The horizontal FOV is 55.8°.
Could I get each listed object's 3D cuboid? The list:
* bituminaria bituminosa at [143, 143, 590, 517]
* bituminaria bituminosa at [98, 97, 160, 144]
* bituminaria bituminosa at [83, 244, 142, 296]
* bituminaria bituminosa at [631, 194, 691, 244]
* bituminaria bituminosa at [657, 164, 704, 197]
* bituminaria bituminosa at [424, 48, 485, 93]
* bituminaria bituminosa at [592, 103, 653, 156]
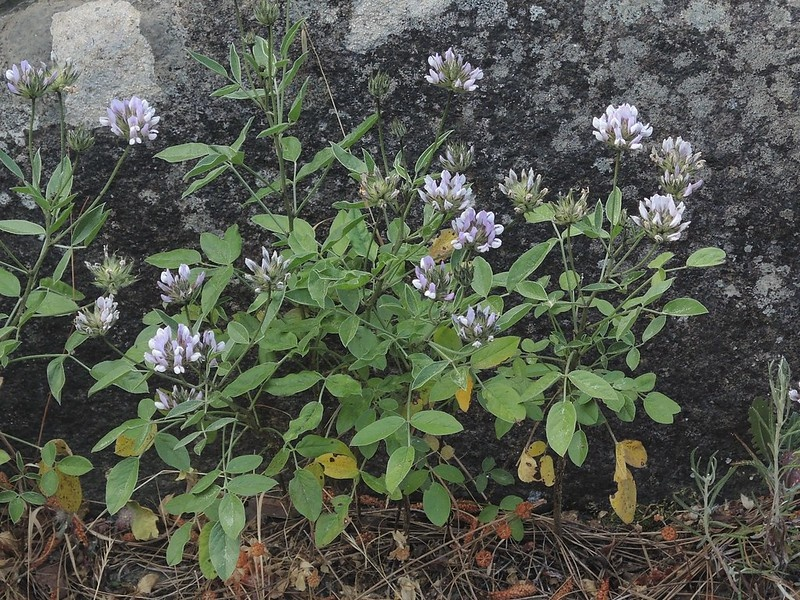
[{"bbox_3d":[-0.019,0.284,2.881,1.519,0.860,1.498,10,67,3],"label":"bituminaria bituminosa"},{"bbox_3d":[-0.877,-0.572,2.461,0.160,0.146,0.144,-25,50,-24],"label":"bituminaria bituminosa"},{"bbox_3d":[-1.052,-0.124,2.781,0.129,0.136,0.142,9,34,-21],"label":"bituminaria bituminosa"},{"bbox_3d":[0.801,-0.275,2.338,0.152,0.137,0.190,14,46,13],"label":"bituminaria bituminosa"},{"bbox_3d":[0.886,-0.392,2.412,0.100,0.094,0.151,12,46,11],"label":"bituminaria bituminosa"},{"bbox_3d":[0.173,-0.738,2.425,0.152,0.151,0.145,-29,52,-27],"label":"bituminaria bituminosa"},{"bbox_3d":[0.698,-0.549,2.380,0.170,0.143,0.157,14,46,13],"label":"bituminaria bituminosa"}]
